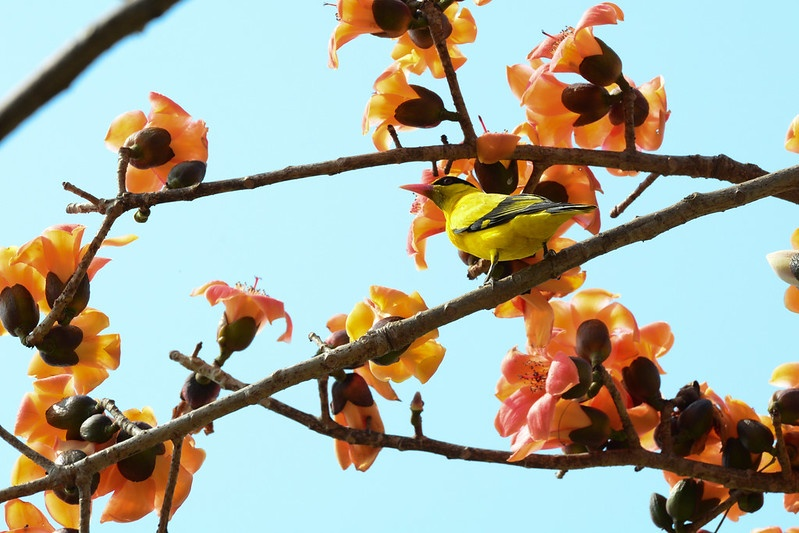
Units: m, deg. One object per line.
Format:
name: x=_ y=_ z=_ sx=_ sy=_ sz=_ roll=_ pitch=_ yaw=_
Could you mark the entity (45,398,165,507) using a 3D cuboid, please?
entity: x=-1.265 y=0.706 z=4.558 sx=0.533 sy=0.182 sz=0.509 roll=7 pitch=-90 yaw=29
